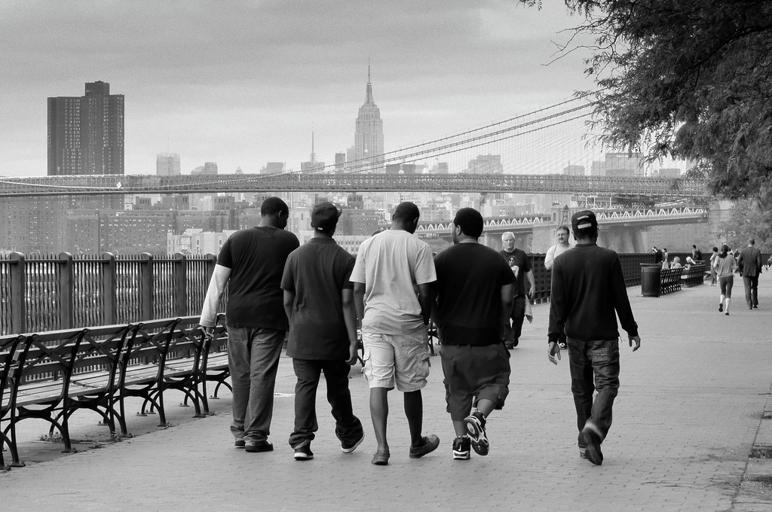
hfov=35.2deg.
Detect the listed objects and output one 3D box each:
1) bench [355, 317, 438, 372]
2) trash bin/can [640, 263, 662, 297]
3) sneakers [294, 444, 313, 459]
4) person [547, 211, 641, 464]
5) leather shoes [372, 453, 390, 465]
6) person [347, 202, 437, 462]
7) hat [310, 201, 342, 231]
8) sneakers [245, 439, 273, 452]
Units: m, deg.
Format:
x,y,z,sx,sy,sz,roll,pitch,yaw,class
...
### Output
x,y,z,sx,sy,sz,roll,pitch,yaw,class
0.084,0.949,12.341,0.737,0.517,0.414,-1,6,-2,bench
8.313,0.766,38.290,0.762,1.003,0.760,3,-2,-39,trash bin/can
-0.844,1.971,12.345,0.201,0.171,0.286,-2,3,-5,sneakers
2.072,0.799,12.327,0.639,2.499,0.724,1,4,45,person
-0.063,2.015,12.098,0.161,0.128,0.118,-2,3,-1,leather shoes
0.089,0.758,12.208,0.861,2.608,0.463,-2,3,-2,person
-0.630,-0.416,12.563,0.231,0.343,0.176,6,-39,6,hat
-1.319,1.979,12.631,0.313,0.137,0.111,-2,7,-27,sneakers
